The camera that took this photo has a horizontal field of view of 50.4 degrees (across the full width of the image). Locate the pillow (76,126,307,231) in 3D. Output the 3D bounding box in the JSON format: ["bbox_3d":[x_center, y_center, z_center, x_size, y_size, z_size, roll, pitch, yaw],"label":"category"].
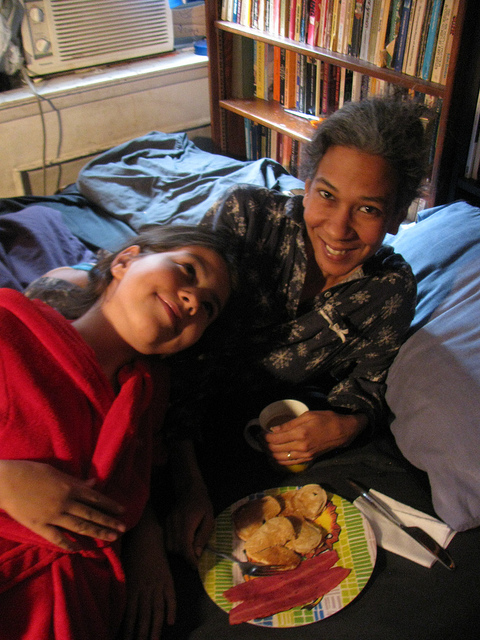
[{"bbox_3d":[-0.310,-0.599,2.189,0.648,0.220,0.929,-17,36,-27],"label":"pillow"}]

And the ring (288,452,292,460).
[{"bbox_3d":[0.096,0.266,1.001,0.007,0.013,0.003,13,31,20],"label":"ring"}]

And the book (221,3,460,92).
[{"bbox_3d":[0.333,-1.030,1.858,0.083,0.286,1.155,-12,30,-23],"label":"book"}]

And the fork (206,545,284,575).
[{"bbox_3d":[0.011,0.390,0.826,0.148,0.021,0.024,5,52,40],"label":"fork"}]

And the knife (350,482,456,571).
[{"bbox_3d":[0.261,0.347,0.963,0.049,0.021,0.317,29,0,-28],"label":"knife"}]

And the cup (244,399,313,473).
[{"bbox_3d":[0.091,0.235,1.092,0.169,0.146,0.101,-6,37,13],"label":"cup"}]
